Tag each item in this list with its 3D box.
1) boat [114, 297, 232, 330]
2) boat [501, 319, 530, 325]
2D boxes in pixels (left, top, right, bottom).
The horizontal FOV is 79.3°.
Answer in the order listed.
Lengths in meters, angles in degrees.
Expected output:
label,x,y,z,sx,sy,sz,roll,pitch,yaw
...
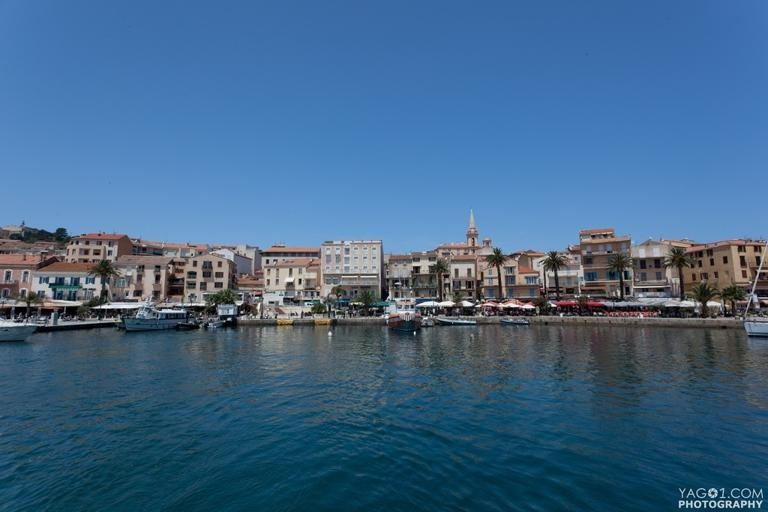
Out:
label,x,y,z,sx,sy,sz,roll,pitch,yaw
boat,-37.047,10.643,79.166,6.085,4.996,16.639,-1,-1,33
boat,23.158,11.869,81.508,4.833,1.043,1.359,0,-18,19
